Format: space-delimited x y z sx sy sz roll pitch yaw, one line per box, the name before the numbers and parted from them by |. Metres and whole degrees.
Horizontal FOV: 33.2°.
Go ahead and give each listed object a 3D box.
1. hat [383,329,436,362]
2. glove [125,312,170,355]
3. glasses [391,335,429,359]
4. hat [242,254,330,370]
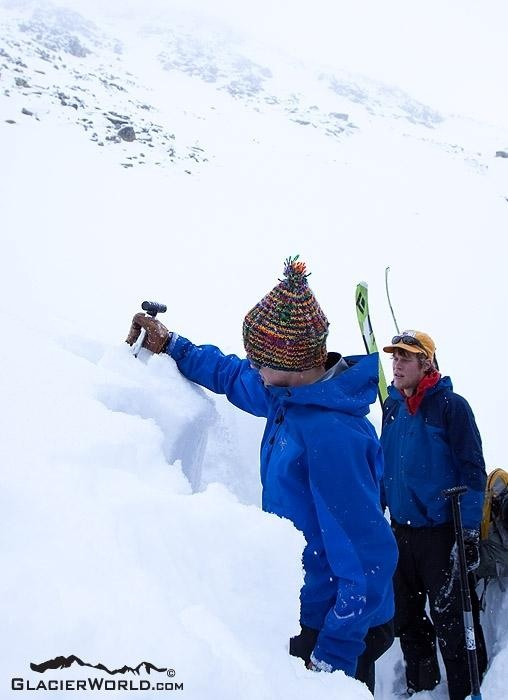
hat | 0.927 -0.008 4.917 0.253 0.121 0.183 26 -13 -30
glove | -0.548 -0.098 4.398 0.238 0.199 0.175 22 15 -17
glasses | 0.891 -0.030 4.877 0.189 0.058 0.124 28 -11 -38
hat | 0.127 -0.157 3.113 0.316 0.341 0.345 17 21 21
